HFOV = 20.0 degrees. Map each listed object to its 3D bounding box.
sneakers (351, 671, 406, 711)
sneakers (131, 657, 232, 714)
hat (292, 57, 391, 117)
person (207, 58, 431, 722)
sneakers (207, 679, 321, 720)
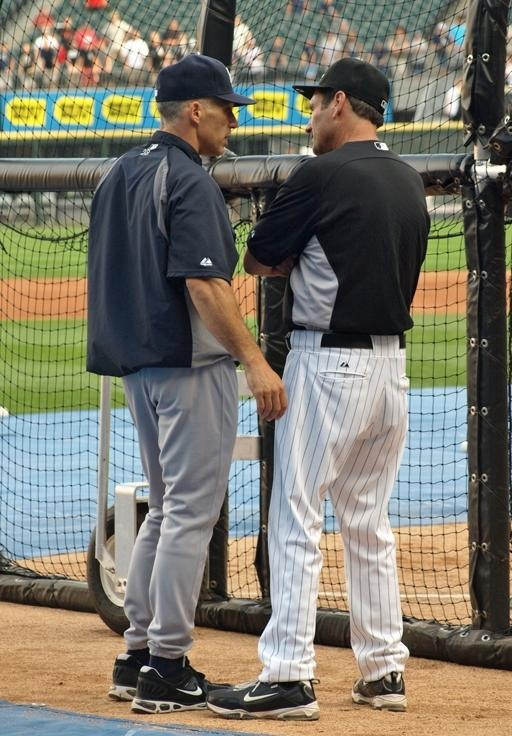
[{"bbox_3d":[0.396,1.048,4.704,0.079,0.104,0.212,3,1,-19],"label":"sneakers"},{"bbox_3d":[-0.230,1.002,4.657,0.353,0.160,0.135,-1,1,-36],"label":"sneakers"},{"bbox_3d":[0.277,-0.917,4.675,0.266,0.137,0.172,24,14,8],"label":"hat"},{"bbox_3d":[0.221,0.065,4.582,0.605,2.072,0.574,1,9,6],"label":"person"},{"bbox_3d":[0.027,1.036,4.570,0.371,0.169,0.126,2,-10,12],"label":"sneakers"}]
